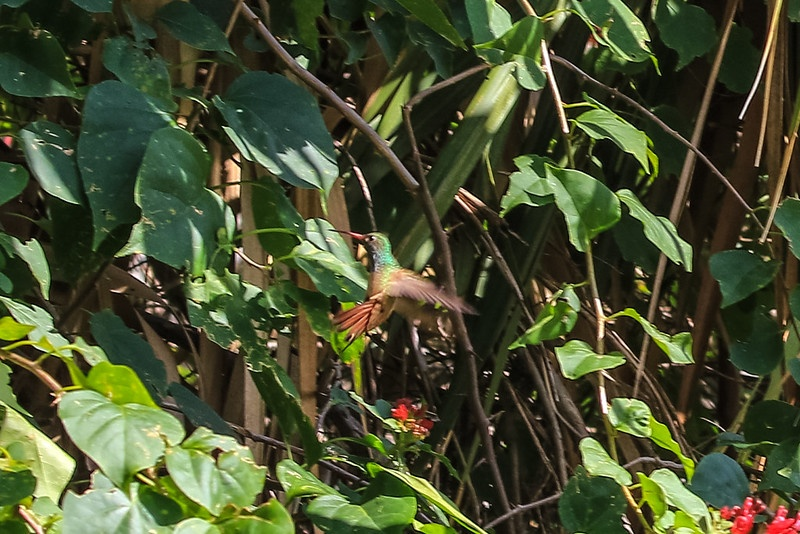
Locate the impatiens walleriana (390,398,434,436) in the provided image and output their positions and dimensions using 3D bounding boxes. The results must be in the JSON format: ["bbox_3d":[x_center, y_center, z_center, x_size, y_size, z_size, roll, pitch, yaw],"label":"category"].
[{"bbox_3d":[0.023,0.276,1.975,0.077,0.066,0.151,7,7,1],"label":"impatiens walleriana"}]

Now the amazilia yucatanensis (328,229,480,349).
[{"bbox_3d":[0.013,0.045,2.068,0.285,0.204,0.308,6,7,-3],"label":"amazilia yucatanensis"}]
